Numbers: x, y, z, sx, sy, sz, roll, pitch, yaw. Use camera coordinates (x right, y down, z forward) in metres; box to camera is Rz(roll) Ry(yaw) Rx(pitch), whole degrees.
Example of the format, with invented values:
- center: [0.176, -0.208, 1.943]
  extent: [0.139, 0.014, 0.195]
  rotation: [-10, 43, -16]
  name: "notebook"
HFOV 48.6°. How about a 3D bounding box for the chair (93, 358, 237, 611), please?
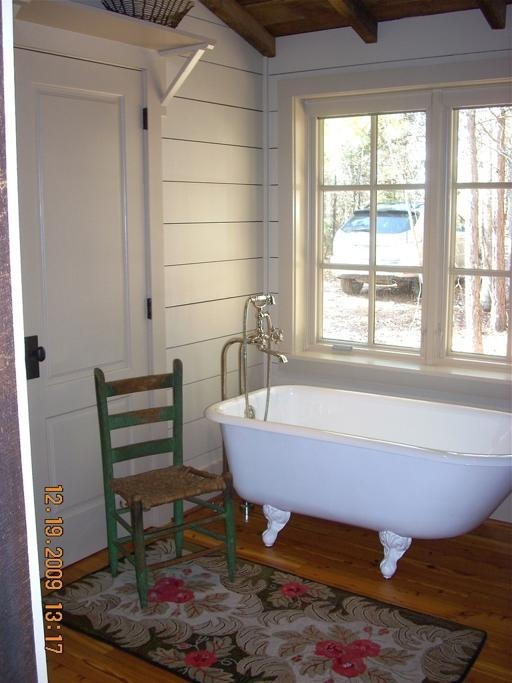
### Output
- center: [-0.383, 0.580, 2.421]
  extent: [0.599, 0.873, 0.564]
  rotation: [-2, 3, -1]
  name: "chair"
